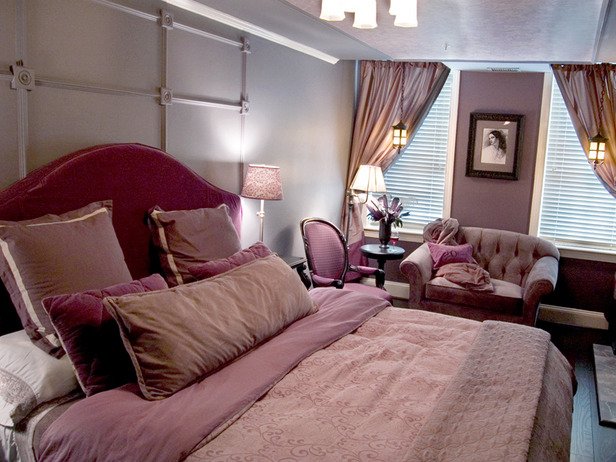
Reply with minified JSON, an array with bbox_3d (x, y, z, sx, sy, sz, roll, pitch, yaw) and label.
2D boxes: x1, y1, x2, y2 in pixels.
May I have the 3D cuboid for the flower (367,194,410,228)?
[{"bbox_3d":[0.911,-0.227,5.301,0.450,0.348,0.473,-1,4,12],"label":"flower"}]

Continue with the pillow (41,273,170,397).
[{"bbox_3d":[-0.943,0.491,2.254,0.319,0.440,0.502,7,13,36],"label":"pillow"}]

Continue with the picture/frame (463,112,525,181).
[{"bbox_3d":[2.227,-1.015,5.435,0.735,1.055,0.117,3,4,24],"label":"picture/frame"}]

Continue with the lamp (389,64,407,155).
[{"bbox_3d":[1.132,-1.483,5.604,0.210,1.085,0.393,1,11,11],"label":"lamp"}]

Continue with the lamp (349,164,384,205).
[{"bbox_3d":[0.713,-0.575,5.544,0.462,0.509,0.459,-1,10,6],"label":"lamp"}]

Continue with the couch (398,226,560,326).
[{"bbox_3d":[1.862,0.545,4.959,1.636,1.070,1.193,9,15,43],"label":"couch"}]

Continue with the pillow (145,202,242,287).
[{"bbox_3d":[-0.773,0.085,3.069,0.152,0.519,0.530,-22,-10,39],"label":"pillow"}]

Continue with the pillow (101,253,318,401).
[{"bbox_3d":[-0.410,0.433,2.596,0.374,0.424,1.369,5,11,33],"label":"pillow"}]
